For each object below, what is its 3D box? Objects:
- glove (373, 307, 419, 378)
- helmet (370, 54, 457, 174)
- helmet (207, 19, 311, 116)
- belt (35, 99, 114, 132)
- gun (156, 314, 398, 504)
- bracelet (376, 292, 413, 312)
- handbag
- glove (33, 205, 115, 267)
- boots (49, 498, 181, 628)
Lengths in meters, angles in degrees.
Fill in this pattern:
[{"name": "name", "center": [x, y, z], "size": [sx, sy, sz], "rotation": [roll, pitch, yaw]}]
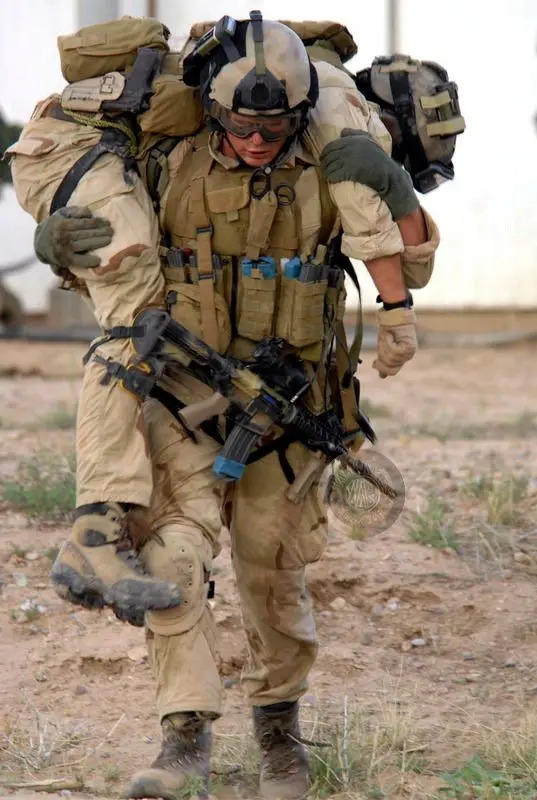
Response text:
[{"name": "glove", "center": [0.351, -0.176, 2.840], "size": [0.093, 0.171, 0.195], "rotation": [6, -2, -35]}, {"name": "helmet", "center": [0.533, -0.970, 3.330], "size": [0.289, 0.317, 0.358], "rotation": [-3, 18, -20]}, {"name": "helmet", "center": [-0.037, -0.965, 2.757], "size": [0.330, 0.306, 0.351], "rotation": [-3, 47, 0]}, {"name": "belt", "center": [-0.574, -0.836, 2.837], "size": [0.191, 0.043, 0.145], "rotation": [15, 3, 40]}, {"name": "gun", "center": [0.004, 0.110, 2.822], "size": [0.860, 0.351, 0.104], "rotation": [38, 28, 18]}, {"name": "bracelet", "center": [0.361, -0.289, 2.832], "size": [0.066, 0.031, 0.089], "rotation": [-10, 10, -41]}, {"name": "handbag", "center": [-0.422, -1.089, 2.888], "size": [0.361, 0.108, 0.251], "rotation": [2, 26, 20]}, {"name": "glove", "center": [-0.574, -0.454, 2.722], "size": [0.125, 0.173, 0.300], "rotation": [-4, 7, -43]}, {"name": "boots", "center": [-0.393, 0.415, 2.540], "size": [0.345, 0.253, 0.212], "rotation": [5, 7, 34]}]
